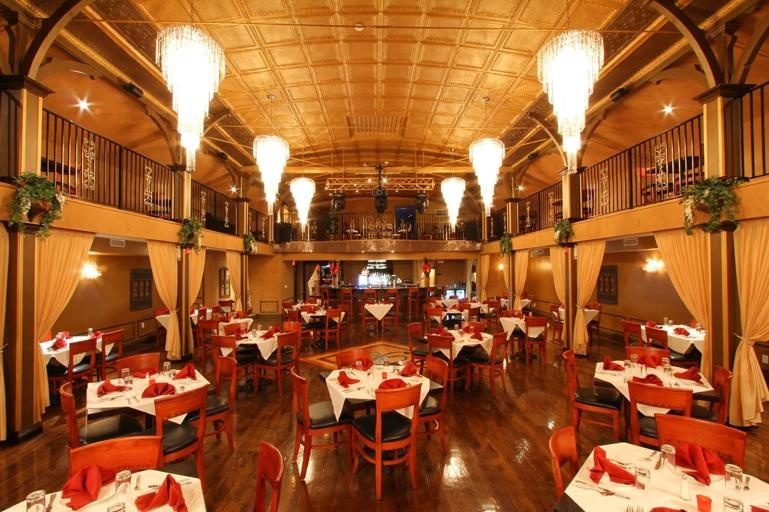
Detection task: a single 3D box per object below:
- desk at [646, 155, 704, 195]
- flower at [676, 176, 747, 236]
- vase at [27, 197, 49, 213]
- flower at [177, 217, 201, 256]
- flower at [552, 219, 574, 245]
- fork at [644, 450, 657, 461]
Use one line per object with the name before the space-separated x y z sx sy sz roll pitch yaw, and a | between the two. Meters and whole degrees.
desk | 6.769 -1.871 12.193 0.740 0.975 1.407 0 2 -2
flower | 6.371 -1.030 10.295 0.933 1.314 1.216 1 6 39
vase | -6.546 -0.941 9.957 0.255 0.254 0.250 18 6 -40
flower | -5.162 -0.546 14.000 0.786 1.102 0.747 1 14 -13
flower | 4.849 -0.659 14.293 0.523 0.723 0.677 0 4 -8
fork | 4.004 2.959 7.861 0.079 0.043 0.286 -3 -5 13
